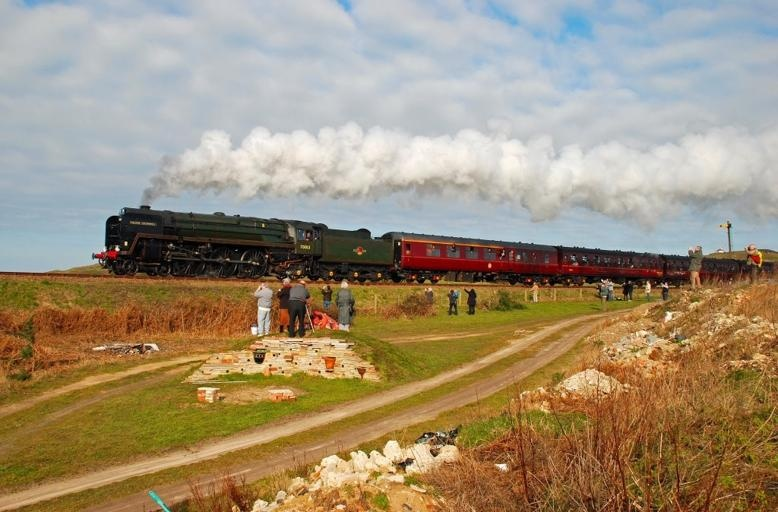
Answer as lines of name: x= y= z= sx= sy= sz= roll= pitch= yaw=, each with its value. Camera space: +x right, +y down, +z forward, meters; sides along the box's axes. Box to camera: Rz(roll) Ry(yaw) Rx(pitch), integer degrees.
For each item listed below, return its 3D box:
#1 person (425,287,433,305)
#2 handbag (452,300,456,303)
person: x=2.824 y=2.946 z=37.939 sx=0.502 sy=1.041 sz=1.252 roll=-6 pitch=8 yaw=-3
handbag: x=4.543 y=3.249 z=37.614 sx=0.189 sy=0.178 sz=0.044 roll=0 pitch=-9 yaw=-17
